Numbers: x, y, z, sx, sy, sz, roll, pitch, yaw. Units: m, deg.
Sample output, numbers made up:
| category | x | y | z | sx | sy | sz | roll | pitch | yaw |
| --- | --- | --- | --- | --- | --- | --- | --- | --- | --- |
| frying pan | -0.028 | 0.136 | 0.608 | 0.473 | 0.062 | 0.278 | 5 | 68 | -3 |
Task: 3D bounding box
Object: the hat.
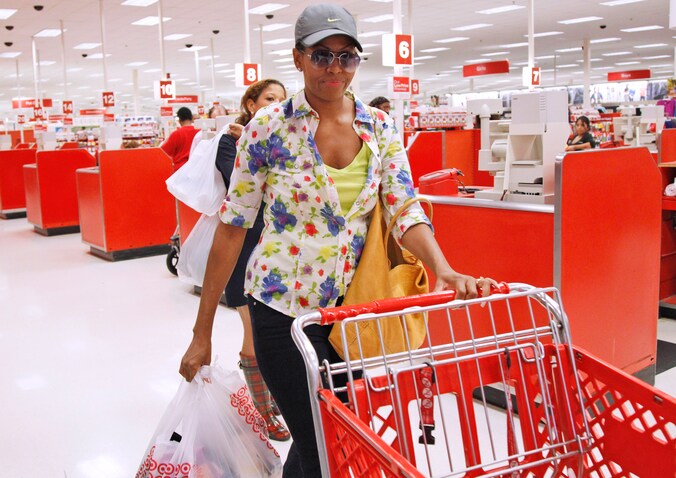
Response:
| category | x | y | z | sx | sy | sz | roll | pitch | yaw |
| --- | --- | --- | --- | --- | --- | --- | --- | --- | --- |
| hat | -0.049 | -0.648 | 1.649 | 0.166 | 0.118 | 0.223 | -4 | 18 | -22 |
